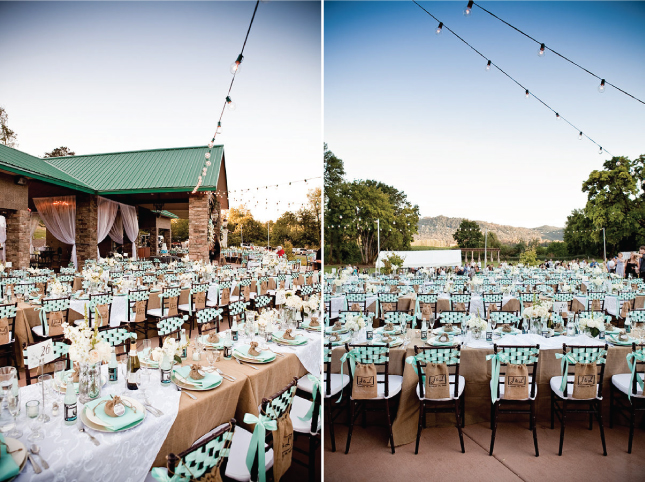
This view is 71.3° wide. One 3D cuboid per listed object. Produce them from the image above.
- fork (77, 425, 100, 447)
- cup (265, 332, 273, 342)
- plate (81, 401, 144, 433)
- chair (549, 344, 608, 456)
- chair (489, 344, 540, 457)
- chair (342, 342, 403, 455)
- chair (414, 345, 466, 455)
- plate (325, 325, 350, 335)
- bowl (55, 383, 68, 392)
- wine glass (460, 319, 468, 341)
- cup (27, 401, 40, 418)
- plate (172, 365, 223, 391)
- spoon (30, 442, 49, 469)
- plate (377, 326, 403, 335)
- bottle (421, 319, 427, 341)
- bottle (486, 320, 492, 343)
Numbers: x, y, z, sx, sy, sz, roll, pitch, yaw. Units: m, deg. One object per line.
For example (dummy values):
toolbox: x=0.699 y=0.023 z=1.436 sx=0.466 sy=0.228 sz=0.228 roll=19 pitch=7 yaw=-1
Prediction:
fork: x=-2.278 y=1.864 z=4.359 sx=0.095 sy=0.082 sz=0.559 roll=-19 pitch=19 yaw=-33
cup: x=-0.722 y=1.281 z=6.064 sx=0.110 sy=0.132 sz=0.116 roll=2 pitch=3 yaw=0
plate: x=-2.097 y=1.741 z=4.486 sx=0.614 sy=0.244 sz=0.276 roll=-1 pitch=-2 yaw=5
chair: x=3.339 y=2.018 z=5.867 sx=0.661 sy=1.421 sz=0.589 roll=-1 pitch=-2 yaw=23
chair: x=2.537 y=2.022 z=5.931 sx=0.622 sy=1.431 sz=0.890 roll=-1 pitch=-2 yaw=25
chair: x=0.659 y=2.040 z=5.971 sx=0.817 sy=1.424 sz=0.636 roll=0 pitch=-1 yaw=-6
chair: x=1.558 y=2.040 z=5.953 sx=0.709 sy=1.399 sz=0.654 roll=-1 pitch=-2 yaw=8
plate: x=0.175 y=1.302 z=6.601 sx=0.293 sy=0.120 sz=0.404 roll=1 pitch=-3 yaw=-28
bowl: x=-2.784 y=1.560 z=4.773 sx=0.102 sy=0.037 sz=0.109 roll=2 pitch=-8 yaw=0
wine glass: x=1.991 y=1.240 z=6.313 sx=0.088 sy=0.280 sz=0.328 roll=-1 pitch=-2 yaw=17
cup: x=-2.870 y=1.649 z=4.428 sx=0.100 sy=0.175 sz=0.196 roll=1 pitch=-2 yaw=-39
plate: x=-1.392 y=1.526 z=4.962 sx=0.304 sy=0.073 sz=0.341 roll=6 pitch=10 yaw=-2
spoon: x=-2.591 y=2.004 z=4.094 sx=0.089 sy=0.085 sz=0.519 roll=-9 pitch=16 yaw=-36
plate: x=0.970 y=1.283 z=6.423 sx=0.345 sy=0.103 sz=0.391 roll=-1 pitch=-2 yaw=7
bottle: x=1.430 y=1.233 z=6.316 sx=0.087 sy=0.272 sz=0.177 roll=-1 pitch=-2 yaw=14
bottle: x=2.327 y=1.250 z=6.289 sx=0.087 sy=0.264 sz=0.243 roll=-1 pitch=-2 yaw=20
